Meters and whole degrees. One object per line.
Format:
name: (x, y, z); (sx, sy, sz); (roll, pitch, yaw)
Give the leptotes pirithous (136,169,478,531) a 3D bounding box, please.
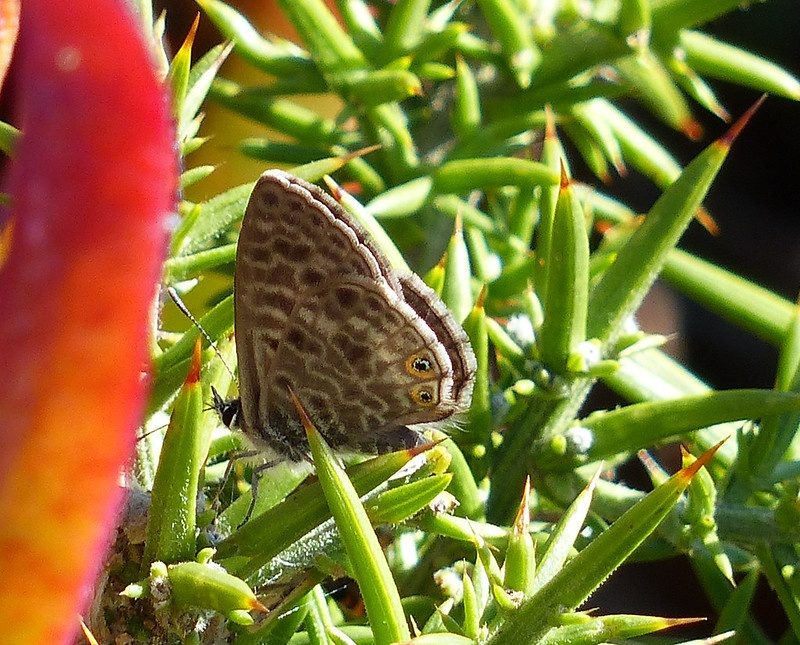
leptotes pirithous: (-0.104, 0.010, 1.056); (0.283, 0.303, 0.372); (2, -8, -10)
